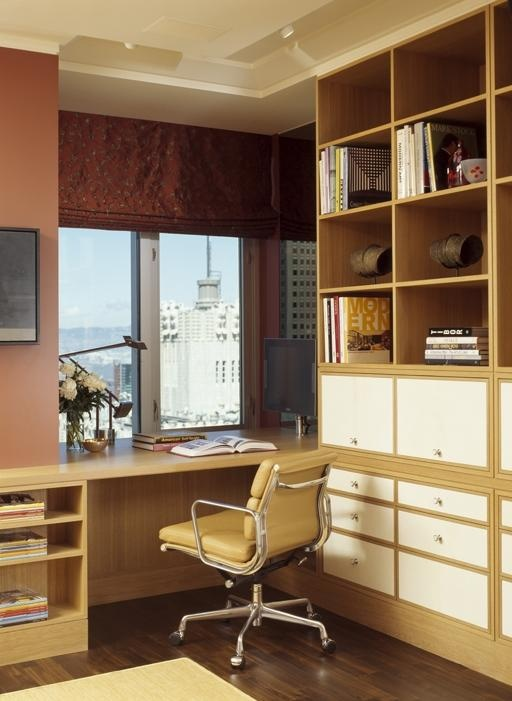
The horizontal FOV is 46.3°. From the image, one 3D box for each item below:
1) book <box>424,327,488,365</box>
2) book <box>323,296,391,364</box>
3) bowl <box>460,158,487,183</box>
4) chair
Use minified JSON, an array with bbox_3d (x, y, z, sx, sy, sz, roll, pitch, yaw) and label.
[{"bbox_3d":[0.774,-0.011,2.322,0.064,0.175,0.287,6,-11,-28],"label":"book"},{"bbox_3d":[0.490,-0.092,3.087,0.414,0.403,0.310,0,1,-23],"label":"book"},{"bbox_3d":[0.831,-0.682,2.269,0.104,0.076,0.095,0,1,25],"label":"bowl"},{"bbox_3d":[0.007,0.819,2.513,0.700,0.754,0.618,-5,-8,40],"label":"chair"}]
